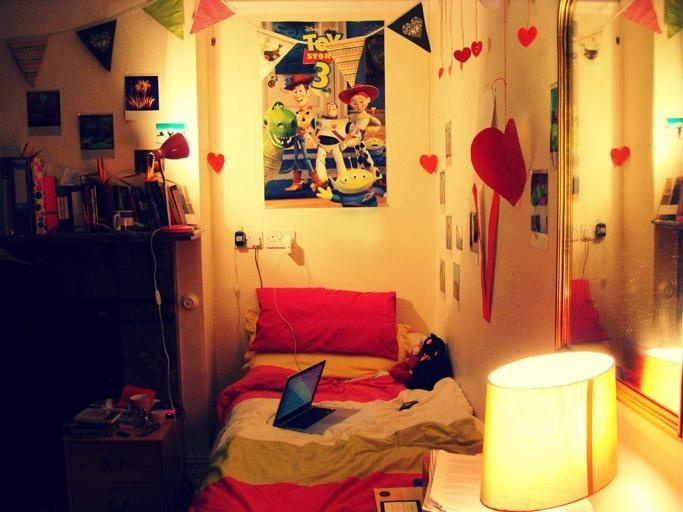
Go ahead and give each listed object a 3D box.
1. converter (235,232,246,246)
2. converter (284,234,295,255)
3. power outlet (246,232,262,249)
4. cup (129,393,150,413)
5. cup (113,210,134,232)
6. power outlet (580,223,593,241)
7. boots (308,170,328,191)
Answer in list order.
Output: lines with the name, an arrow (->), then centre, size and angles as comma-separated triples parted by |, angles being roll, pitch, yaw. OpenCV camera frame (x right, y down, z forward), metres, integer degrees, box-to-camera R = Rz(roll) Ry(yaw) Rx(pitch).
converter -> -0.623, -0.102, 3.570 | 0.072, 0.097, 0.036 | -6, 12, -11
converter -> -0.325, -0.085, 3.619 | 0.053, 0.102, 0.100 | 0, 8, -3
power outlet -> -0.540, -0.095, 3.576 | 0.092, 0.097, 0.070 | -3, 1, 0
cup -> -1.038, 0.756, 2.985 | 0.092, 0.076, 0.075 | 1, -2, 11
cup -> -1.147, -0.187, 3.039 | 0.114, 0.122, 0.075 | 0, 2, -24
power outlet -> 0.723, -0.070, 1.713 | 0.033, 0.042, 0.035 | 2, 1, 2
boots -> -0.149, -0.460, 3.594 | 0.115, 0.128, 0.088 | -4, 12, -6
